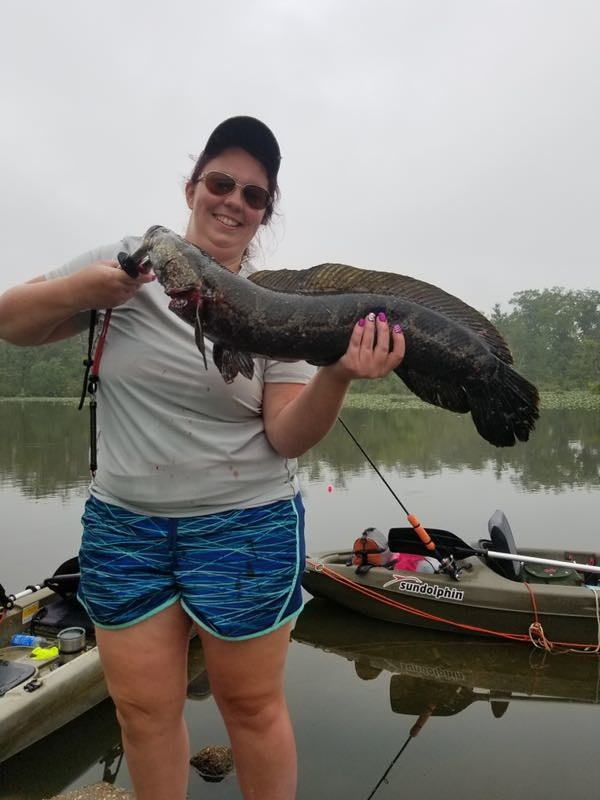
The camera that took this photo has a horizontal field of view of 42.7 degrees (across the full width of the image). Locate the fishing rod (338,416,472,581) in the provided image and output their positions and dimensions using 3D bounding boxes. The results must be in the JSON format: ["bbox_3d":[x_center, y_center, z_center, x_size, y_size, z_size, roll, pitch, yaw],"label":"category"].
[{"bbox_3d":[1.472,1.117,7.879,2.328,0.355,0.149,-20,43,-20],"label":"fishing rod"}]

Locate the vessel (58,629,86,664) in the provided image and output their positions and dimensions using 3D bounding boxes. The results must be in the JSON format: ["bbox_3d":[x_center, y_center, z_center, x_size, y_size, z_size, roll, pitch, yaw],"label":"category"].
[{"bbox_3d":[-1.894,1.992,6.317,0.211,0.184,0.203,14,-21,-40],"label":"vessel"}]
